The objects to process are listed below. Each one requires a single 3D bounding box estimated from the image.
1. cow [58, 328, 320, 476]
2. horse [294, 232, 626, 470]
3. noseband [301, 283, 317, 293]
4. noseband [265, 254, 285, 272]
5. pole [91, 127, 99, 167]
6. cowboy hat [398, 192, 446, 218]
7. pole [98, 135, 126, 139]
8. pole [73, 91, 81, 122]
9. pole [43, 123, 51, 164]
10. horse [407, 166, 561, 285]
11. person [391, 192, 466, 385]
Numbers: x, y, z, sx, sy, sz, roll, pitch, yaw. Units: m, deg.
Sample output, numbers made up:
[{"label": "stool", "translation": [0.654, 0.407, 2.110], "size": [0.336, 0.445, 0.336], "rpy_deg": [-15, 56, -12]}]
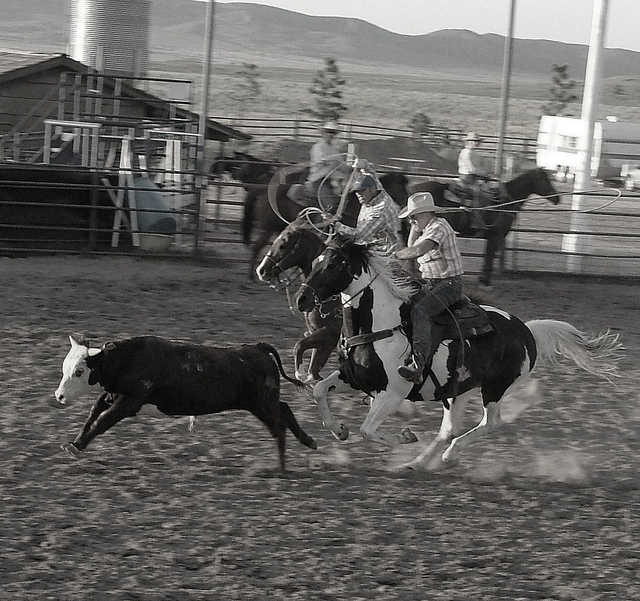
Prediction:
[{"label": "cow", "translation": [-0.690, 0.583, 5.008], "size": [1.455, 0.854, 1.234], "rpy_deg": [6, 11, 3]}, {"label": "horse", "translation": [0.947, 0.417, 5.622], "size": [3.234, 1.403, 0.762], "rpy_deg": [6, 1, -37]}, {"label": "noseband", "translation": [-0.070, -0.075, 4.917], "size": [0.100, 0.055, 0.042], "rpy_deg": [9, 12, 21]}, {"label": "noseband", "translation": [-0.350, -0.289, 6.358], "size": [0.155, 0.130, 0.076], "rpy_deg": [5, 13, -3]}, {"label": "pole", "translation": [-3.797, -2.584, 13.610], "size": [0.099, 0.621, 0.333], "rpy_deg": [5, 13, -15]}, {"label": "cowboy hat", "translation": [0.625, -0.592, 5.055], "size": [0.288, 0.076, 0.189], "rpy_deg": [-8, 3, -20]}, {"label": "pole", "translation": [-3.526, -2.757, 13.638], "size": [0.443, 0.050, 1.222], "rpy_deg": [1, 9, -15]}, {"label": "pole", "translation": [-4.225, -3.356, 13.985], "size": [0.089, 0.525, 0.432], "rpy_deg": [4, 12, -18]}, {"label": "pole", "translation": [-4.960, -2.850, 14.660], "size": [0.108, 0.704, 0.750], "rpy_deg": [4, 12, -20]}, {"label": "horse", "translation": [2.808, -1.168, 13.180], "size": [0.789, 1.463, 2.856], "rpy_deg": [6, -5, -34]}, {"label": "person", "translation": [0.624, -0.070, 4.966], "size": [0.450, 1.146, 0.557], "rpy_deg": [11, 14, 13]}]
